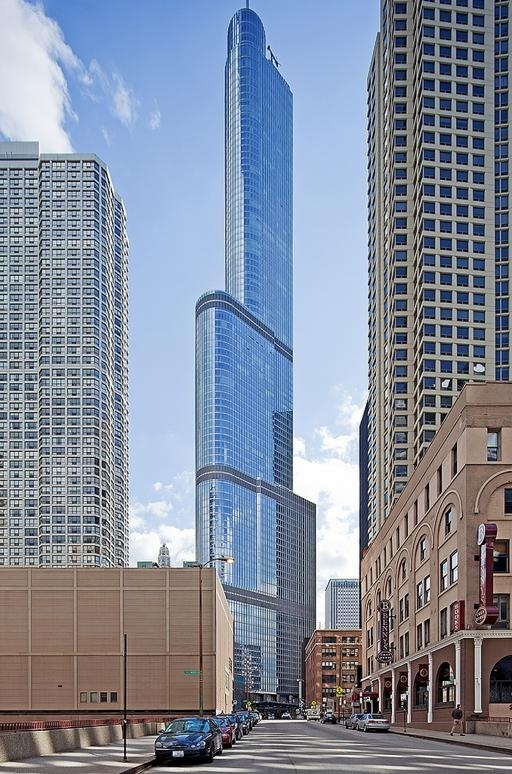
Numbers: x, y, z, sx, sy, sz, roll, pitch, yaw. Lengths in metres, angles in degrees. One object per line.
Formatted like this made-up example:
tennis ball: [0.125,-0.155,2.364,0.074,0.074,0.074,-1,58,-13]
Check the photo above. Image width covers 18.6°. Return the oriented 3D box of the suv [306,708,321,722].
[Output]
suv: [6.217,37.048,176.364,1.041,1.053,2.697,2,-16,6]

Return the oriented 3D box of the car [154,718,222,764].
car: [-3.223,16.664,73.693,2.333,2.184,4.375,-5,-15,16]

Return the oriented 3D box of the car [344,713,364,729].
car: [7.123,25.320,118.106,0.777,0.972,2.268,1,-16,4]
